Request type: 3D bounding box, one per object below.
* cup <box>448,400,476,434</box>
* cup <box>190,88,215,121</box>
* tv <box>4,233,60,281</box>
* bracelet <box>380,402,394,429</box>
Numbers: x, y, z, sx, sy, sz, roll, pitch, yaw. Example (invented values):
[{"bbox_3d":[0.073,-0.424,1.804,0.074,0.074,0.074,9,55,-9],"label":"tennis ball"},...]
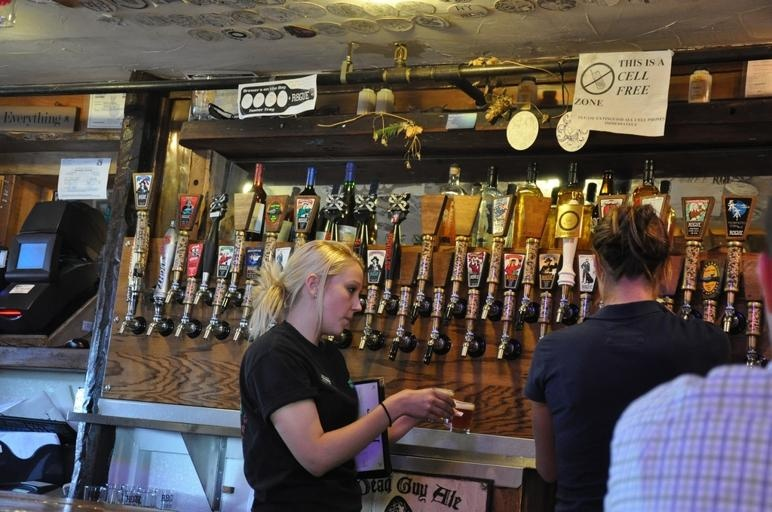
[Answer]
[{"bbox_3d":[0.257,0.616,2.175,0.149,0.104,0.112,11,-19,-16],"label":"cup"},{"bbox_3d":[-1.067,-0.875,3.300,0.121,0.188,0.206,6,-1,-23],"label":"cup"},{"bbox_3d":[-2.382,0.020,3.915,0.409,0.318,0.114,2,-7,17],"label":"tv"},{"bbox_3d":[0.001,0.508,1.821,0.022,0.074,0.078,-35,12,1],"label":"bracelet"}]
